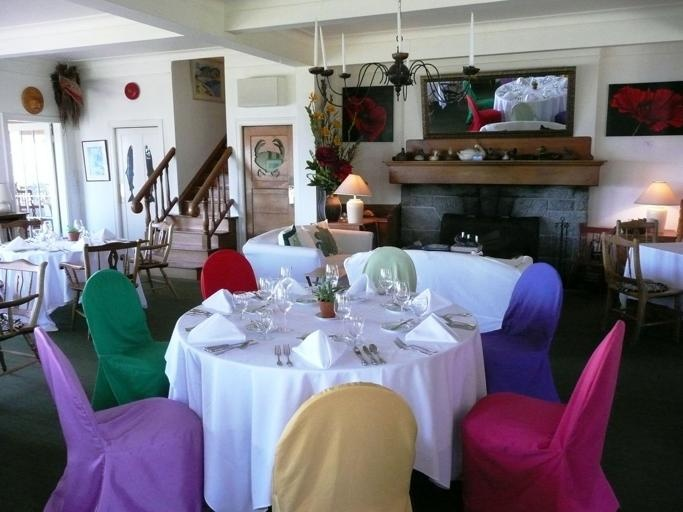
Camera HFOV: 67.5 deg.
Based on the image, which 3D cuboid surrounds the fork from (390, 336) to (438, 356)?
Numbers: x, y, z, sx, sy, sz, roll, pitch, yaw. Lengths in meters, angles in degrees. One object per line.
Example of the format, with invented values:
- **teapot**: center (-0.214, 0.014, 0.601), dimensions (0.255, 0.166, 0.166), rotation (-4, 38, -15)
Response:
- **fork**: center (0.383, 0.483, 2.681), dimensions (0.239, 0.040, 0.071), rotation (13, 32, 41)

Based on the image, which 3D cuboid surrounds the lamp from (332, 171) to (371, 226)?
- **lamp**: center (0.099, -0.771, 7.210), dimensions (0.656, 0.860, 0.628), rotation (-2, 2, -26)

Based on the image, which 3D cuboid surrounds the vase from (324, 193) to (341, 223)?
- **vase**: center (-0.128, -0.663, 7.137), dimensions (0.309, 0.427, 0.332), rotation (-1, 2, -7)

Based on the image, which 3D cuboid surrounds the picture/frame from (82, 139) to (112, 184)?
- **picture/frame**: center (-4.290, -1.688, 9.019), dimensions (0.680, 0.993, 0.057), rotation (4, 7, 23)

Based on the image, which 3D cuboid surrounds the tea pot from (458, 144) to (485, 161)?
- **tea pot**: center (1.762, -1.398, 6.976), dimensions (0.266, 0.132, 0.221), rotation (0, 9, 26)
